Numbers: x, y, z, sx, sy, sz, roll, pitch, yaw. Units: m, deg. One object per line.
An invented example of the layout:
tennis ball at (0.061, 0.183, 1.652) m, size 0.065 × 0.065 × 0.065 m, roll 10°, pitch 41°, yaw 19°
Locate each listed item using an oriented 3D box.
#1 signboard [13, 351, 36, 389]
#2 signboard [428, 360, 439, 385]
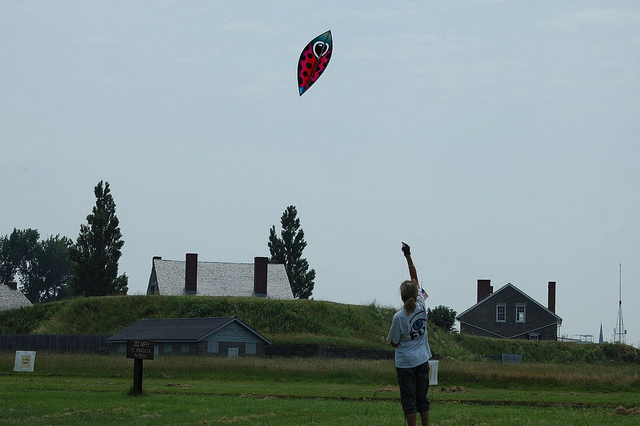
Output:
signboard at (-23.975, 12.689, 106.763) m, size 1.374 × 2.924 × 0.749 m, roll -8°, pitch 17°, yaw -10°
signboard at (8.711, 12.302, 100.453) m, size 0.510 × 1.933 × 1.449 m, roll -1°, pitch -10°, yaw 0°
